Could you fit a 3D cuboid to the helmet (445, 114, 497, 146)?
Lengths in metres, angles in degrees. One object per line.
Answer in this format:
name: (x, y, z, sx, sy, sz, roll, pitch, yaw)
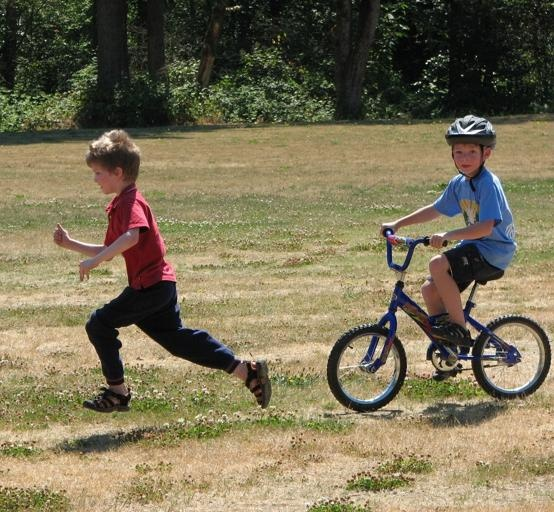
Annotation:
helmet: (2.446, -1.549, 17.551, 0.368, 0.229, 0.525, 5, 0, 20)
